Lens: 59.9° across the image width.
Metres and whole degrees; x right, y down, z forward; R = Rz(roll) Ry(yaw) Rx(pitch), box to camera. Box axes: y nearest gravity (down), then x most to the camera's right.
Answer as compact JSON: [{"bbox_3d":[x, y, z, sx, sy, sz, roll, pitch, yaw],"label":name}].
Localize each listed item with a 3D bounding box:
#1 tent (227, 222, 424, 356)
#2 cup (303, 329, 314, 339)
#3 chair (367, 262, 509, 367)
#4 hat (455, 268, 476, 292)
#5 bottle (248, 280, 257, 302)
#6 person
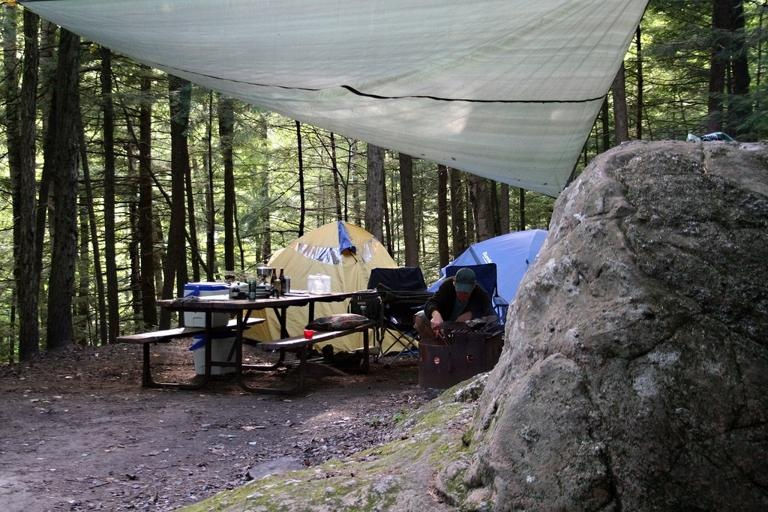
[{"bbox_3d":[-1.036,0.493,11.275,2.684,1.398,2.332,1,-5,-26],"label":"tent"},{"bbox_3d":[-0.911,0.964,8.238,0.108,0.073,0.100,0,-8,0],"label":"cup"},{"bbox_3d":[0.635,0.736,8.840,1.580,1.115,1.775,2,-4,-28],"label":"chair"},{"bbox_3d":[0.946,0.268,7.721,0.211,0.138,0.277,7,28,1],"label":"hat"},{"bbox_3d":[-1.596,0.402,8.156,0.095,0.214,0.207,0,4,-13],"label":"bottle"},{"bbox_3d":[0.839,0.582,7.750,0.897,0.869,0.819,1,4,0],"label":"person"}]
